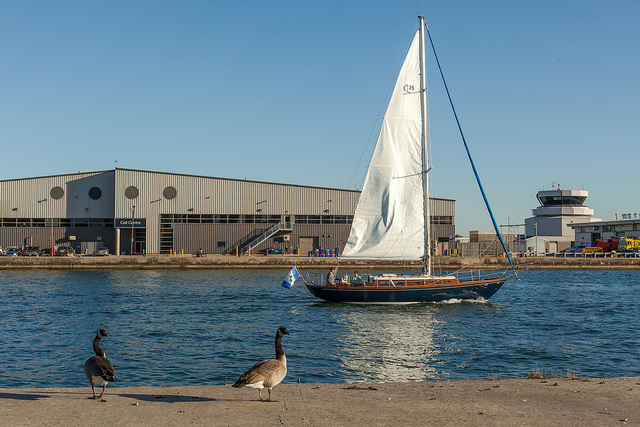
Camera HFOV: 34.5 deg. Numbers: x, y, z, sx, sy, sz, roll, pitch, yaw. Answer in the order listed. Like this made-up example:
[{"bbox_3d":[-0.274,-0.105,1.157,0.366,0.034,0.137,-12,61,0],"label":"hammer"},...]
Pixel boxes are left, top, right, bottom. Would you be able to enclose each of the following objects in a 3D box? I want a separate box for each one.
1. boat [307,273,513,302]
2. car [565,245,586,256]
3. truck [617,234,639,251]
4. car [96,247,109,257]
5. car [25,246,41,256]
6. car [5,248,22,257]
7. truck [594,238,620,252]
[{"bbox_3d":[8.061,6.731,95.037,15.915,2.611,3.567,1,-4,-9],"label":"boat"},{"bbox_3d":[40.858,5.444,164.790,3.666,1.311,2.218,3,-4,10],"label":"car"},{"bbox_3d":[46.781,4.405,156.470,2.784,1.488,1.625,2,-5,-9],"label":"truck"},{"bbox_3d":[-29.087,5.004,137.862,1.420,1.124,2.075,0,-4,-6],"label":"car"},{"bbox_3d":[-37.863,4.894,136.165,1.799,1.214,2.140,0,-4,3],"label":"car"},{"bbox_3d":[-40.639,4.942,136.393,2.033,0.954,1.290,2,-4,-24],"label":"car"},{"bbox_3d":[44.575,4.690,159.187,2.686,1.342,1.779,-1,0,-3],"label":"truck"}]
